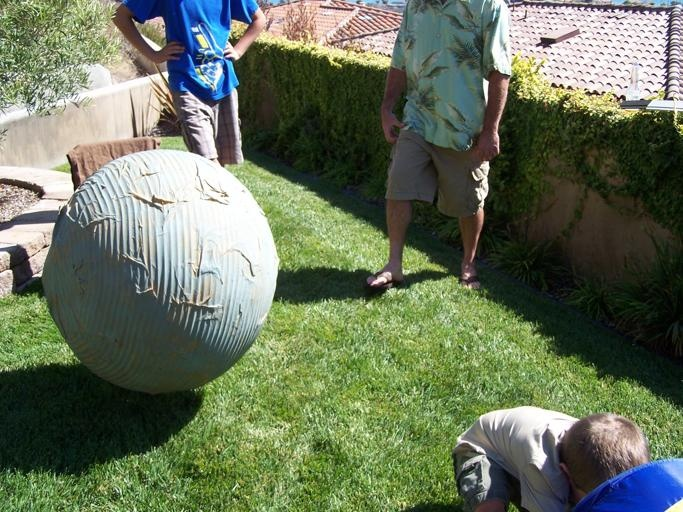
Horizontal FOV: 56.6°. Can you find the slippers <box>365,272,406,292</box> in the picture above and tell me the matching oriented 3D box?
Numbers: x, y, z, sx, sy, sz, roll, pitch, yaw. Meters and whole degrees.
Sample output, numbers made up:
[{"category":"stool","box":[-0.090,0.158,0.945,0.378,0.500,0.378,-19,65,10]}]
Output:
[{"category":"slippers","box":[0.348,0.246,5.248,0.253,0.136,0.151,7,-8,-34]}]
